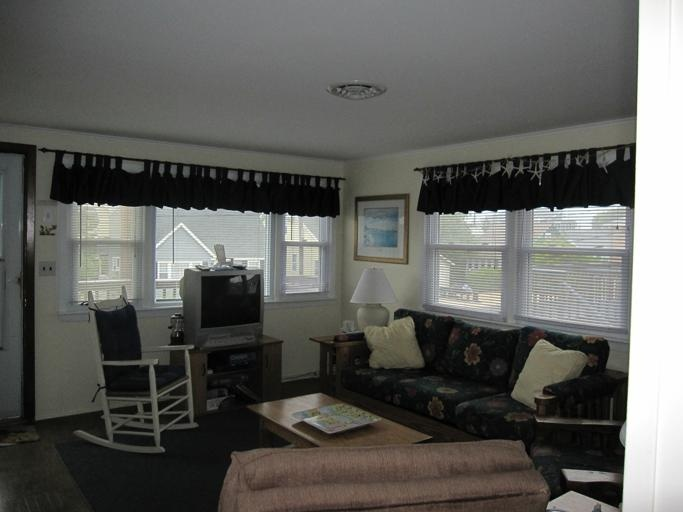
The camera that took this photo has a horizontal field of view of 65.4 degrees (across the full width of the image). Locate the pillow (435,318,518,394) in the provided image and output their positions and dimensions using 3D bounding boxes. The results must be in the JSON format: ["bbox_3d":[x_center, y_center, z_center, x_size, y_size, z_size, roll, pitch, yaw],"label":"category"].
[{"bbox_3d":[1.208,0.844,4.560,0.162,0.454,0.560,24,-10,-30],"label":"pillow"}]

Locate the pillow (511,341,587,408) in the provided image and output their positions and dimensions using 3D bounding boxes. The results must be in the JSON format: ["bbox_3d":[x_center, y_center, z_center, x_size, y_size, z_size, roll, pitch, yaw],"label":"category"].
[{"bbox_3d":[1.519,0.879,3.937,0.478,0.427,0.408,8,11,36],"label":"pillow"}]

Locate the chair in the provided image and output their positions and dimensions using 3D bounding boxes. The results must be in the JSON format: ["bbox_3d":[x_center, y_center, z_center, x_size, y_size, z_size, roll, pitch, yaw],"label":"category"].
[{"bbox_3d":[-1.731,0.893,4.498,0.927,1.310,1.079,0,9,-12],"label":"chair"}]

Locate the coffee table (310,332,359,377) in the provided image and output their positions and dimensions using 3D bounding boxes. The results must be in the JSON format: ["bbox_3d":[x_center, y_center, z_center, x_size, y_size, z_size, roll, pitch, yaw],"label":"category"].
[{"bbox_3d":[-0.072,0.910,5.266,0.442,0.414,0.423,1,-2,-35],"label":"coffee table"}]
